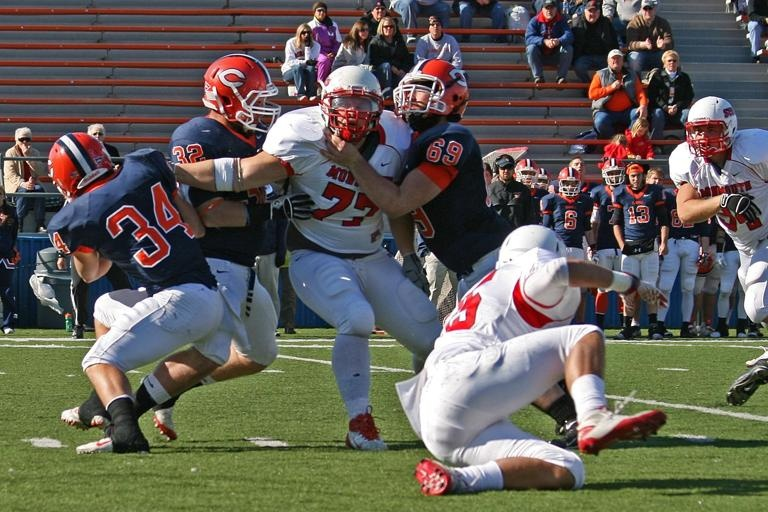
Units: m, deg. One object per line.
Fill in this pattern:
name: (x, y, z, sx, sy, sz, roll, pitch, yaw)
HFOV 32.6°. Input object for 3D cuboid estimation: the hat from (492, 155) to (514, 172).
hat: (1.313, -1.004, 14.112, 0.168, 0.112, 0.217, 8, -15, 3)

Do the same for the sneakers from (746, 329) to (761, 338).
sneakers: (4.464, 0.932, 15.642, 0.126, 0.043, 0.122, 7, 10, -45)

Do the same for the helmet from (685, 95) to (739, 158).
helmet: (2.737, -1.104, 10.816, 0.389, 0.405, 0.537, 1, 22, 38)

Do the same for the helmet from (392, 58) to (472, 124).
helmet: (0.412, -1.316, 10.164, 0.495, 0.427, 0.584, 13, 12, 34)

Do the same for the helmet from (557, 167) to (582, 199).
helmet: (2.151, -0.874, 15.040, 0.296, 0.285, 0.374, 0, 9, -4)

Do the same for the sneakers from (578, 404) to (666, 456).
sneakers: (1.591, 1.098, 8.745, 0.631, 0.273, 0.211, -26, -33, 32)

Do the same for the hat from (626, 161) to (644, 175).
hat: (2.923, -1.027, 15.158, 0.158, 0.148, 0.193, -7, -35, -3)

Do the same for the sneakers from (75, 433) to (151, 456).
sneakers: (-1.923, 1.357, 9.405, 0.551, 0.197, 0.172, 4, -9, 4)

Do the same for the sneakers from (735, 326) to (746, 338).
sneakers: (4.218, 0.905, 15.395, 0.145, 0.123, 0.091, -1, -3, 37)

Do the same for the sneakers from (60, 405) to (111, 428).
sneakers: (-2.181, 1.177, 9.567, 0.327, 0.146, 0.107, 15, -33, 16)

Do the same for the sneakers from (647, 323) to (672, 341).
sneakers: (3.158, 0.850, 14.932, 0.142, 0.150, 0.397, 0, 2, 23)

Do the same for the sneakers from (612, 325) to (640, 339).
sneakers: (2.821, 0.869, 14.876, 0.386, 0.139, 0.123, 3, 6, -28)

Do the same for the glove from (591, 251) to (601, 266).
glove: (2.294, 0.017, 14.075, 0.115, 0.138, 0.060, -3, -14, 8)

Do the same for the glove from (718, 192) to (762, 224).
glove: (2.898, -0.400, 10.579, 0.305, 0.110, 0.211, 26, -20, -6)

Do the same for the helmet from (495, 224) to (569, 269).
helmet: (1.122, -0.066, 9.521, 0.455, 0.414, 0.564, -8, -4, 6)

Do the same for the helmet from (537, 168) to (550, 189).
helmet: (1.913, -0.944, 15.773, 0.206, 0.233, 0.254, 3, -7, -7)

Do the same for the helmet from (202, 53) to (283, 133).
helmet: (-1.112, -1.268, 10.110, 0.693, 0.499, 0.476, 7, 13, 3)

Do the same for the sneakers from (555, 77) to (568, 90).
sneakers: (2.534, -2.470, 18.582, 0.079, 0.198, 0.148, 1, 19, -4)

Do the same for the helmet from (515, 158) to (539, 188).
helmet: (1.653, -0.970, 15.171, 0.326, 0.298, 0.392, 2, -4, -8)

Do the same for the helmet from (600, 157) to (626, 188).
helmet: (2.768, -1.030, 15.748, 0.307, 0.290, 0.385, -2, -2, 5)

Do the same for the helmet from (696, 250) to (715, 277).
helmet: (3.856, 0.097, 15.597, 0.166, 0.294, 0.263, 12, 17, 42)

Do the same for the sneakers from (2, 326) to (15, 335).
sneakers: (-4.186, 0.826, 14.517, 0.095, 0.099, 0.109, -33, -23, -13)

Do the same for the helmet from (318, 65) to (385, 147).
helmet: (-0.267, -1.194, 10.002, 0.504, 0.530, 0.650, 2, 11, -21)

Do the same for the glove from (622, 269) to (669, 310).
glove: (2.374, 0.280, 11.778, 0.621, 0.175, 0.363, -4, 44, 3)

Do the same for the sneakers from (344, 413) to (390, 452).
sneakers: (-0.122, 1.270, 9.542, 0.304, 0.246, 0.177, 0, 13, -2)

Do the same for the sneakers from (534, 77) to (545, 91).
sneakers: (2.237, -2.467, 18.640, 0.091, 0.223, 0.096, 1, 42, 4)

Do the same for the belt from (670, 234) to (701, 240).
belt: (3.544, -0.216, 15.342, 0.329, 0.069, 0.056, -1, 13, -8)

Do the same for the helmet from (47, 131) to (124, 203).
helmet: (-2.258, -0.672, 9.675, 0.571, 0.440, 0.419, 6, 21, 29)

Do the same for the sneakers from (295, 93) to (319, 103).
sneakers: (-1.039, -2.122, 17.499, 0.130, 0.153, 0.393, 2, 7, -21)
